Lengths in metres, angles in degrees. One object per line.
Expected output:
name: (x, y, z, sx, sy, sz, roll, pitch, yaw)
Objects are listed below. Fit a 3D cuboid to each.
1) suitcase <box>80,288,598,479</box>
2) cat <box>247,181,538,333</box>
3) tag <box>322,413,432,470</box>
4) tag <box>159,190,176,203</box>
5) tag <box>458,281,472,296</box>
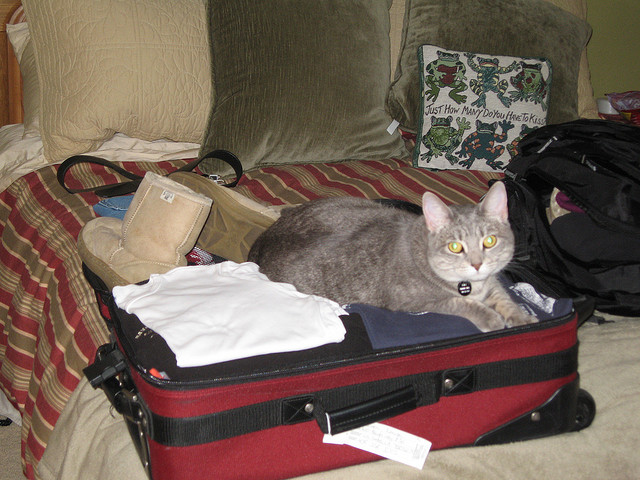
suitcase: (0.072, 0.197, 1.299, 0.742, 0.238, 0.547, -6, 17, -16)
cat: (0.207, 0.011, 1.724, 0.866, 0.379, 0.287, 11, 28, 26)
tag: (0.167, 0.421, 1.313, 0.315, 0.127, 0.006, 16, -7, -9)
tag: (-0.434, -0.124, 1.638, 0.034, 0.035, 0.011, 26, -2, 14)
tag: (0.411, 0.135, 1.645, 0.035, 0.036, 0.008, 5, -2, -8)
